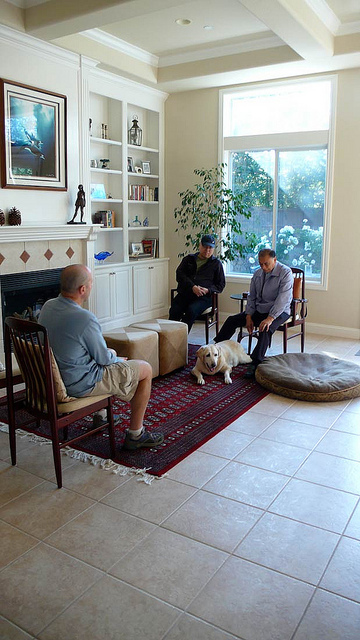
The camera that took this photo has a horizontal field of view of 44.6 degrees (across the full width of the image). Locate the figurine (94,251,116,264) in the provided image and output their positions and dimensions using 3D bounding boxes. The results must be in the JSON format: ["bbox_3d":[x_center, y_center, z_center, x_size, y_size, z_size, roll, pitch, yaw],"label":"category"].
[{"bbox_3d":[-0.981,-0.830,5.776,0.196,0.183,0.449,0,5,3],"label":"figurine"}]

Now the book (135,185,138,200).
[{"bbox_3d":[-0.609,-1.784,6.114,0.012,0.192,0.065,3,6,32],"label":"book"}]

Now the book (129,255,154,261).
[{"bbox_3d":[-0.537,-0.888,6.235,0.163,0.097,0.450,4,7,38],"label":"book"}]

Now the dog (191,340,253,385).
[{"bbox_3d":[0.355,0.358,4.028,0.382,0.328,0.730,2,5,20],"label":"dog"}]

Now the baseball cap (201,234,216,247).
[{"bbox_3d":[0.325,-0.923,5.029,0.122,0.100,0.177,7,0,-3],"label":"baseball cap"}]

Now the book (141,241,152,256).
[{"bbox_3d":[-0.481,-1.081,6.507,0.167,0.177,0.043,5,4,24],"label":"book"}]

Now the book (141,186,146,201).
[{"bbox_3d":[-0.507,-1.799,6.272,0.117,0.190,0.180,0,1,-4],"label":"book"}]

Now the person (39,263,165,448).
[{"bbox_3d":[-0.396,0.211,2.419,0.559,1.014,0.670,2,6,17],"label":"person"}]

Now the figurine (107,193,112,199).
[{"bbox_3d":[-0.942,-1.664,5.871,0.084,0.097,0.093,-2,16,-11],"label":"figurine"}]

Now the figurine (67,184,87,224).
[{"bbox_3d":[-1.124,-1.263,4.841,0.170,0.435,0.366,0,5,-1],"label":"figurine"}]

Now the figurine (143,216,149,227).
[{"bbox_3d":[-0.504,-1.454,6.470,0.079,0.179,0.258,0,5,-2],"label":"figurine"}]

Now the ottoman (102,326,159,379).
[{"bbox_3d":[-0.415,0.228,3.749,0.399,0.397,0.412,6,11,37],"label":"ottoman"}]

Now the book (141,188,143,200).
[{"bbox_3d":[-0.538,-1.800,6.222,0.015,0.149,0.039,2,5,23],"label":"book"}]

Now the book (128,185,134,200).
[{"bbox_3d":[-0.681,-1.760,6.024,0.101,0.210,0.202,-1,5,-9],"label":"book"}]

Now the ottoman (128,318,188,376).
[{"bbox_3d":[-0.208,0.197,4.137,0.463,0.438,0.473,4,8,41],"label":"ottoman"}]

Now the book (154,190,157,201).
[{"bbox_3d":[-0.358,-1.841,6.454,0.039,0.157,0.019,0,5,7],"label":"book"}]

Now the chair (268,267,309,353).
[{"bbox_3d":[1.097,-0.096,4.729,0.433,0.917,0.501,-7,12,-29],"label":"chair"}]

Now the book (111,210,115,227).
[{"bbox_3d":[-0.891,-1.358,5.825,0.042,0.231,0.133,-1,5,-8],"label":"book"}]

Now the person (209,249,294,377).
[{"bbox_3d":[0.820,-0.144,4.327,0.806,1.113,0.801,0,5,0],"label":"person"}]
